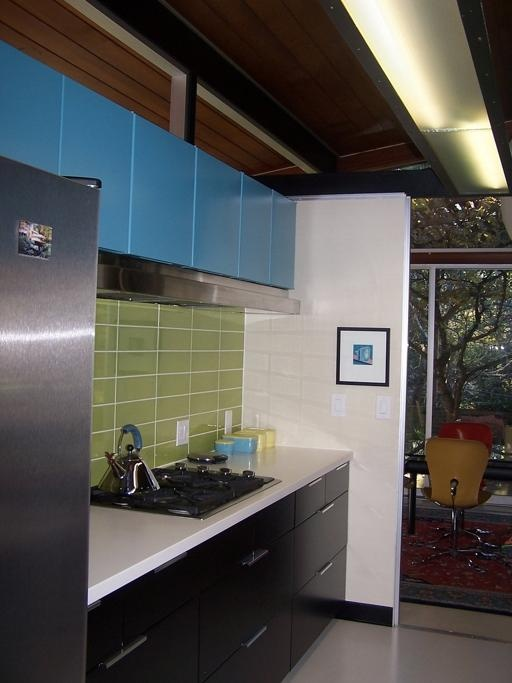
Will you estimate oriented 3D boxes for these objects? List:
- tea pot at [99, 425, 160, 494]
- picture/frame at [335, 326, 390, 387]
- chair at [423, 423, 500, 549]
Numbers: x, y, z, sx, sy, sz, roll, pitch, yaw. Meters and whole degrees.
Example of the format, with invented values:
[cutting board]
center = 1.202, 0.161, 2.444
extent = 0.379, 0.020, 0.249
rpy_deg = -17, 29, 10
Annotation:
[tea pot]
center = -0.502, 0.444, 2.016
extent = 0.216, 0.241, 0.248
rpy_deg = -2, -5, 19
[picture/frame]
center = 0.659, 0.089, 3.161
extent = 0.367, 0.414, 0.020
rpy_deg = 0, -3, 12
[chair]
center = 1.614, 1.256, 4.252
extent = 0.498, 0.960, 0.560
rpy_deg = 2, -4, 11
